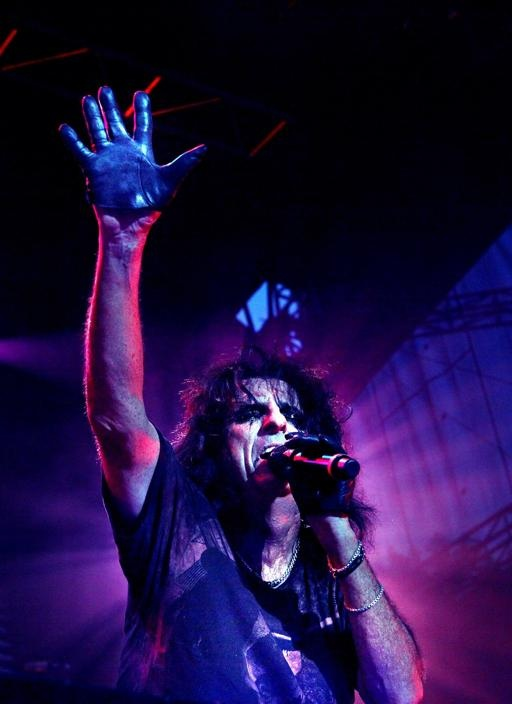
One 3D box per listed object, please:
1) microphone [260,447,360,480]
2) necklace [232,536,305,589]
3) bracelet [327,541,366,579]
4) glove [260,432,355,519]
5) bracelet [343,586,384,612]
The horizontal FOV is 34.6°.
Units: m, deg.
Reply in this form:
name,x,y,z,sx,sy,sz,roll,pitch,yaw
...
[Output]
name,x,y,z,sx,sy,sz,roll,pitch,yaw
microphone,0.154,0.372,2.956,0.116,0.131,0.450,25,-14,-30
necklace,0.108,0.775,3.077,0.147,0.046,0.178,14,35,-19
bracelet,0.320,0.761,2.974,0.114,0.127,0.047,-9,-52,38
glove,0.171,0.453,2.964,0.106,0.138,0.409,36,-23,-15
bracelet,0.387,0.892,2.962,0.024,0.101,0.087,59,-23,-18
